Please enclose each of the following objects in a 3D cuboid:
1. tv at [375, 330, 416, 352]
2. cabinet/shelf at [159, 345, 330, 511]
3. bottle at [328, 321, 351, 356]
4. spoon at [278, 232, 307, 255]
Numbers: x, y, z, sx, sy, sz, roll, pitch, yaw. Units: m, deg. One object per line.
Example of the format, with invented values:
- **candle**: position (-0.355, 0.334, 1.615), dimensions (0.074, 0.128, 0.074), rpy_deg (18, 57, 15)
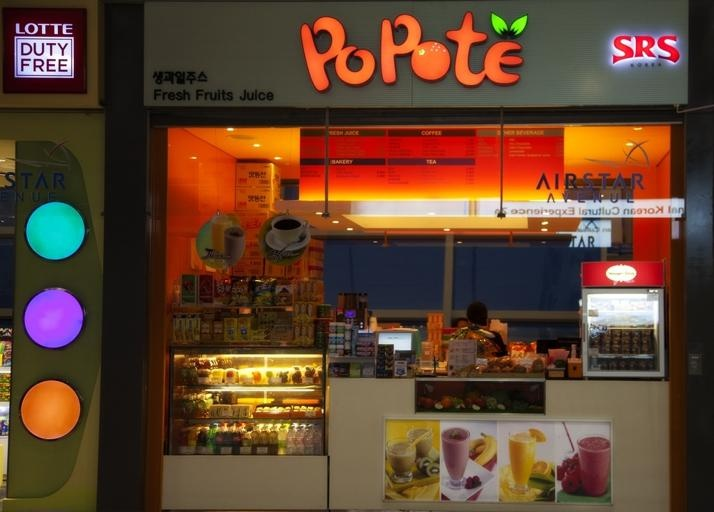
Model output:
- **tv**: position (0.415, 0.905, 8.917), dimensions (0.300, 0.313, 0.217), rpy_deg (0, -2, 17)
- **cabinet/shelf**: position (-1.199, 1.905, 8.866), dimensions (1.625, 1.624, 0.527), rpy_deg (0, -15, 0)
- **bottle**: position (-0.178, 0.900, 8.806), dimensions (0.238, 0.354, 0.056), rpy_deg (2, -7, 4)
- **spoon**: position (-0.652, -0.112, 8.512), dimensions (0.286, 0.050, 0.145), rpy_deg (-32, 45, -21)
